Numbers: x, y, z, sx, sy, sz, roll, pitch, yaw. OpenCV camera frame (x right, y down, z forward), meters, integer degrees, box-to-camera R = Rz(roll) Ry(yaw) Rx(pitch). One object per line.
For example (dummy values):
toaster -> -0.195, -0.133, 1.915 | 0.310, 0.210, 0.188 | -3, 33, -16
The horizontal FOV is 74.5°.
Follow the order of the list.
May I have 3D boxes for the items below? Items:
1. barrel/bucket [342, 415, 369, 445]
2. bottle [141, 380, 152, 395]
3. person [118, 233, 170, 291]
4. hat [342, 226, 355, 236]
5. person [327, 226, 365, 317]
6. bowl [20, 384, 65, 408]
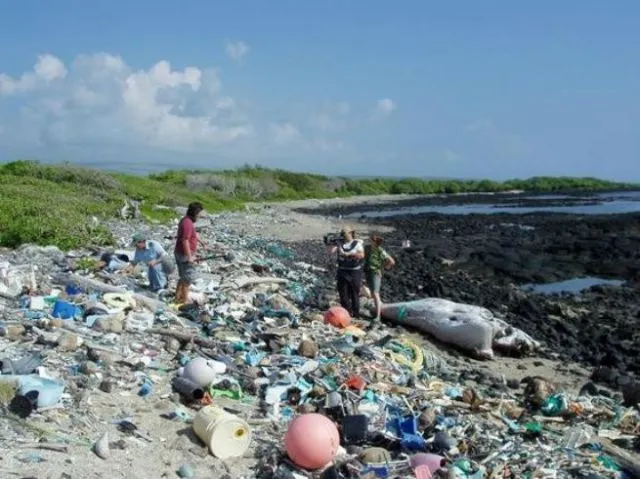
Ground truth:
barrel/bucket -> 0.419, 2.375, 5.190 | 0.419, 0.331, 0.276 | 2, -1, 0
bottle -> -2.398, 2.048, 5.775 | 0.156, 0.127, 0.248 | 3, 10, -16
person -> -3.992, 0.573, 9.720 | 1.145, 1.246, 0.804 | -9, -1, -6
hat -> 0.626, -0.179, 9.400 | 0.320, 0.194, 0.235 | 2, 10, -17
person -> 0.607, 0.795, 9.736 | 0.920, 2.201, 0.647 | 5, 11, -6
bowl -> -3.245, 1.795, 4.886 | 0.430, 0.236, 0.436 | 5, 9, -1
